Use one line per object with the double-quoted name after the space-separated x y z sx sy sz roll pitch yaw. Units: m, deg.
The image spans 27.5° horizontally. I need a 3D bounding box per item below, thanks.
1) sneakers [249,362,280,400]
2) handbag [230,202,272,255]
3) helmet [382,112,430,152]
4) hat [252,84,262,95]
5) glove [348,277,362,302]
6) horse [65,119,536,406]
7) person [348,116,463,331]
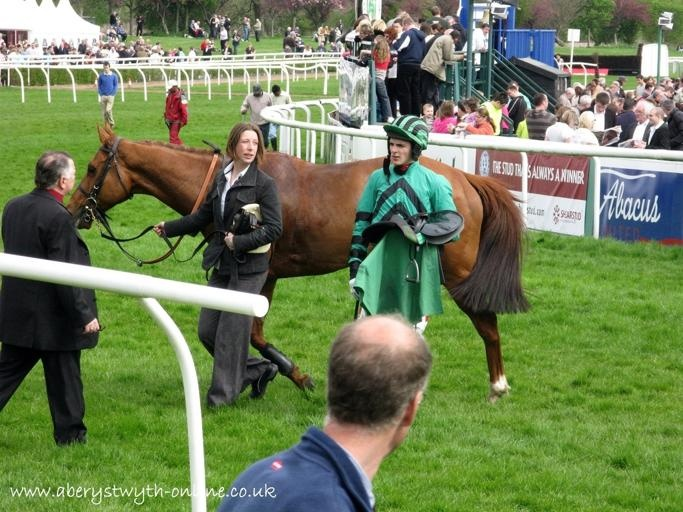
-0.797 1.327 14.726 0.215 0.536 0.178 22 28 -8 "sneakers"
-0.924 -0.276 14.277 0.391 0.517 0.196 5 11 34 "handbag"
0.672 -1.227 13.889 0.442 0.298 0.327 18 8 21 "helmet"
-1.387 -2.818 23.444 0.121 0.111 0.217 0 50 2 "hat"
0.178 0.333 13.814 0.067 0.203 0.137 -16 2 -23 "glove"
-0.383 0.118 15.282 4.821 3.269 1.079 0 17 -4 "horse"
0.637 -0.347 13.801 1.072 2.027 0.498 0 10 1 "person"
